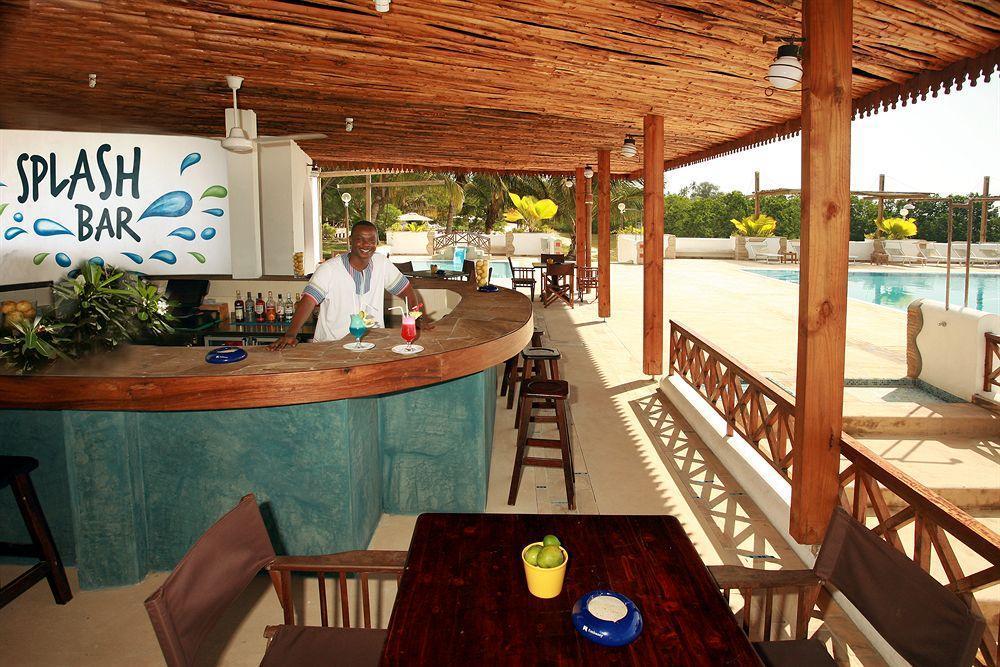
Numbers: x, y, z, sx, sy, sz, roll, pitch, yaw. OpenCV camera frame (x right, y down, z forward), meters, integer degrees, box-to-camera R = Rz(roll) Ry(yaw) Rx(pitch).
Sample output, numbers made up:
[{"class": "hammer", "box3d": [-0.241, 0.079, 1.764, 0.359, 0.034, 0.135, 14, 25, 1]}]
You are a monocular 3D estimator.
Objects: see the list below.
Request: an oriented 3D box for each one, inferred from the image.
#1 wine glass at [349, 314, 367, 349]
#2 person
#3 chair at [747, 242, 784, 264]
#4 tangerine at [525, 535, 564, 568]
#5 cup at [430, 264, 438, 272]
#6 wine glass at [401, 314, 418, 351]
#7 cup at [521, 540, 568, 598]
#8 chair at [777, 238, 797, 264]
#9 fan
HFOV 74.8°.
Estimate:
[{"class": "wine glass", "box3d": [-0.963, -0.032, 4.456, 0.104, 0.237, 0.307, -3, 9, -12]}, {"class": "person", "box3d": [-1.112, -0.395, 4.926, 0.743, 0.892, 1.051, 0, 9, 8]}, {"class": "chair", "box3d": [10.246, -3.187, 25.242, 0.956, 0.638, 0.938, -8, 13, -35]}, {"class": "tangerine", "box3d": [0.199, 0.975, 2.980, 0.143, 0.073, 0.129, -3, 2, -27]}, {"class": "cup", "box3d": [-0.885, -0.868, 8.650, 0.073, 0.092, 0.098, -1, 12, 1]}, {"class": "wine glass", "box3d": [-0.615, -0.030, 4.416, 0.102, 0.234, 0.285, -3, 9, -10]}, {"class": "cup", "box3d": [0.171, 1.067, 3.035, 0.233, 0.230, 0.243, 0, -2, 0]}, {"class": "chair", "box3d": [10.569, -3.070, 24.021, 0.648, 0.892, 1.702, 3, 10, 22]}, {"class": "fan", "box3d": [-2.453, -2.158, 6.389, 1.004, 0.707, 1.065, 14, 19, 40]}]
